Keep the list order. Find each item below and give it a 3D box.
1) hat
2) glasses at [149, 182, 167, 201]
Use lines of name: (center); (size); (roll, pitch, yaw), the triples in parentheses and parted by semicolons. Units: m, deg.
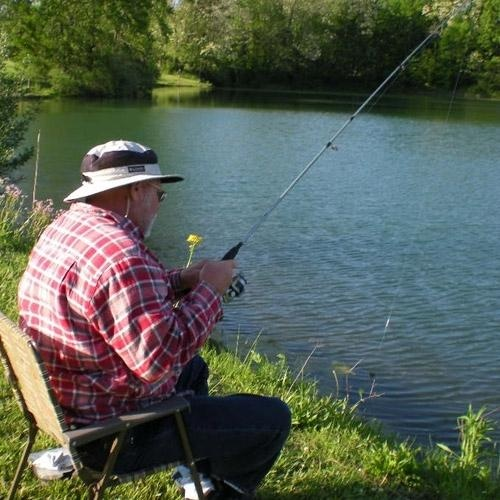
hat: (-0.401, -0.250, 1.800); (0.330, 0.149, 0.378); (4, 15, 36)
glasses: (-0.288, -0.186, 1.832); (0.051, 0.015, 0.049); (24, -10, -19)
